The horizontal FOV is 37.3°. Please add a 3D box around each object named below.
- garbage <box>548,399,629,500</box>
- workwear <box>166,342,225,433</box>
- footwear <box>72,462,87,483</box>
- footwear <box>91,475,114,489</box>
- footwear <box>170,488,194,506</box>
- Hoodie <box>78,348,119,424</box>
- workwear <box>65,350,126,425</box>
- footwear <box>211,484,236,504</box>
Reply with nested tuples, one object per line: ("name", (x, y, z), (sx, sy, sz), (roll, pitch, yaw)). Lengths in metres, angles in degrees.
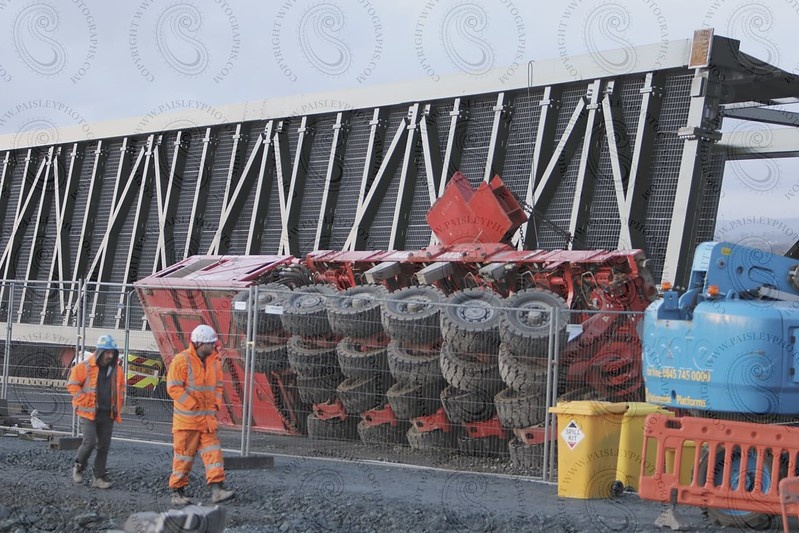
("garbage", (2.907, 2.975, 19.339), (1.569, 1.763, 1.405), (9, -14, -43))
("workwear", (-3.152, 1.878, 18.482), (0.757, 1.348, 0.673), (-2, -11, 6))
("footwear", (-5.238, 3.328, 19.359), (0.184, 0.315, 0.316), (-4, 14, -16))
("footwear", (-4.779, 3.453, 19.059), (0.295, 0.134, 0.283), (-5, 14, -22))
("footwear", (-3.338, 3.521, 18.150), (0.282, 0.224, 0.527), (-3, 14, -11))
("Hoodie", (-4.915, 1.850, 19.591), (0.568, 1.270, 0.546), (3, 1, 19))
("workwear", (-4.988, 2.022, 19.578), (0.932, 1.129, 0.620), (-6, 15, -24))
("footwear", (-2.689, 3.445, 18.078), (0.363, 0.300, 0.241), (-1, 14, -3))
